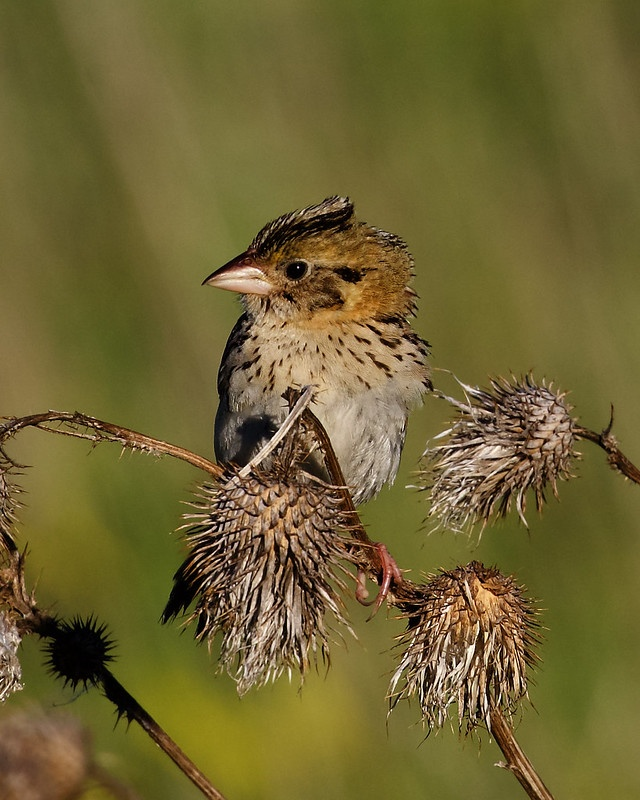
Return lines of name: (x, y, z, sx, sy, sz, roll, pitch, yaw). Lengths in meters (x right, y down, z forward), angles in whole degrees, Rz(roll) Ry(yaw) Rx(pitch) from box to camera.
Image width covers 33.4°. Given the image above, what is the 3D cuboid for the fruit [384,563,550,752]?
fruit: (0.443, 0.744, 3.201, 0.433, 0.515, 0.305, 5, -30, 8)
